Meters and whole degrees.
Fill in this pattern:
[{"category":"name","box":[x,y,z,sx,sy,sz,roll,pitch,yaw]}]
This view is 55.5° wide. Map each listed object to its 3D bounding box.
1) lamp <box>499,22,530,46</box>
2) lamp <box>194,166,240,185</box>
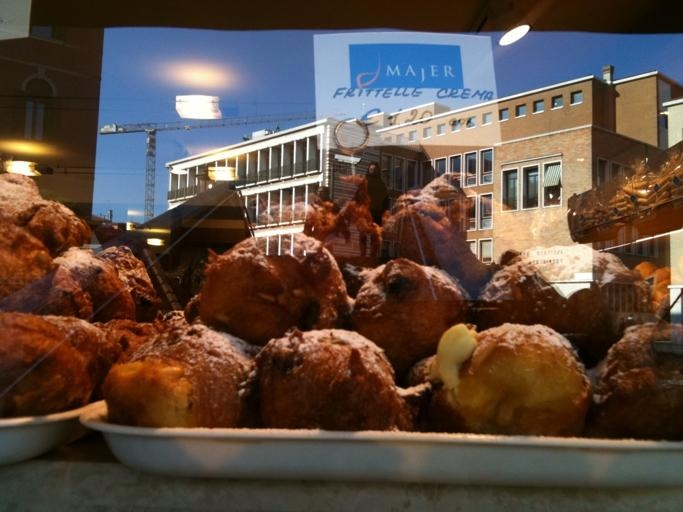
[{"category":"lamp","box":[0.565,-0.718,2.115,0.106,0.080,0.030,0,2,-9]},{"category":"lamp","box":[-0.396,-0.256,2.067,0.135,0.052,0.025,2,2,19]}]
